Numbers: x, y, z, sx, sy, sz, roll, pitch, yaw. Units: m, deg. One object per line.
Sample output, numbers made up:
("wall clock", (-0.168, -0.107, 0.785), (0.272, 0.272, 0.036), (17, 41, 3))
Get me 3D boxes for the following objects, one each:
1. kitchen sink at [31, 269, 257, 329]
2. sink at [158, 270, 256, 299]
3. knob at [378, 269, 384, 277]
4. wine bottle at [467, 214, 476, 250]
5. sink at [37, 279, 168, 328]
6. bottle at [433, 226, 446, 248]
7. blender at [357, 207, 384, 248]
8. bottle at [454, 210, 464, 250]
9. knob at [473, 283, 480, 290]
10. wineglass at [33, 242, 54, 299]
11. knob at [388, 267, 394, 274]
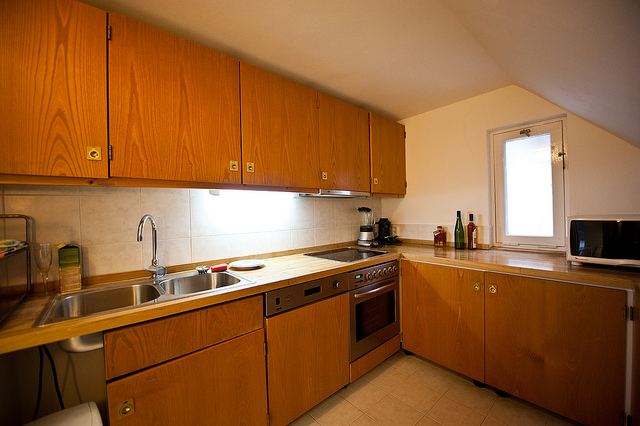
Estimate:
("kitchen sink", (-1.227, 0.580, 3.032), (1.303, 0.233, 0.476), (-2, 3, -23))
("sink", (-0.852, 0.538, 3.197), (0.646, 0.157, 0.480), (-2, 3, -24))
("knob", (0.534, 0.520, 3.763), (0.056, 0.055, 0.013), (11, -6, -43))
("wine bottle", (1.466, 0.174, 4.143), (0.075, 0.327, 0.070), (-1, 3, 0))
("sink", (-1.450, 0.609, 2.915), (0.733, 0.195, 0.398), (-2, 3, -23))
("bottle", (1.218, 0.231, 4.345), (0.111, 0.195, 0.095), (0, 3, 13))
("blender", (0.533, 0.136, 4.558), (0.265, 0.398, 0.466), (-1, 3, 1))
("bottle", (1.370, 0.155, 4.206), (0.076, 0.359, 0.127), (0, 3, 19))
("knob", (1.287, 0.602, 3.535), (0.031, 0.044, 0.013), (-7, -4, 40))
("wineglass", (-1.900, 0.388, 2.961), (0.109, 0.368, 0.150), (-3, 3, -33))
("knob", (0.644, 0.514, 3.855), (0.037, 0.052, 0.014), (1, -4, -27))
